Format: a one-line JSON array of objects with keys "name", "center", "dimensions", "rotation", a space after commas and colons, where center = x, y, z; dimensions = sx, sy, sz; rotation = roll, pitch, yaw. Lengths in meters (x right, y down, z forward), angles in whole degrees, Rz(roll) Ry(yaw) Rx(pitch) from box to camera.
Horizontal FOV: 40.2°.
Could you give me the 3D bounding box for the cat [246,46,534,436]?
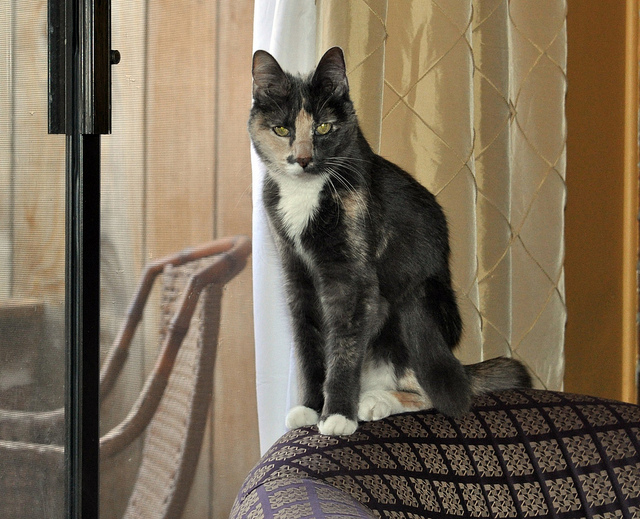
[{"name": "cat", "center": [0.064, -0.013, 1.861], "dimensions": [0.292, 0.764, 0.576], "rotation": [-14, -28, 38]}]
